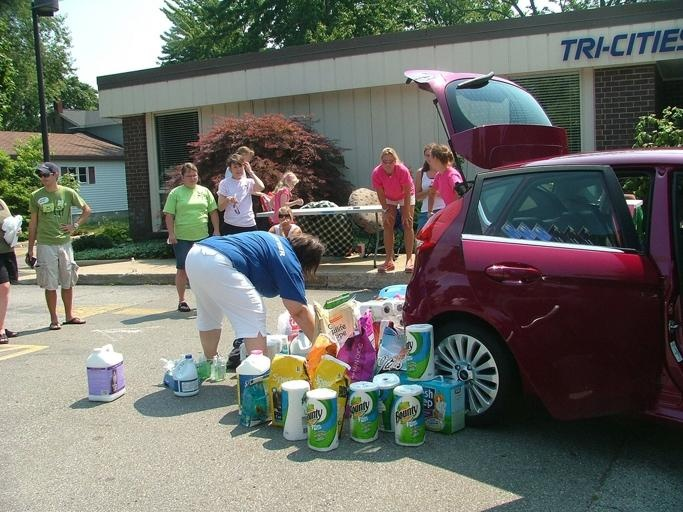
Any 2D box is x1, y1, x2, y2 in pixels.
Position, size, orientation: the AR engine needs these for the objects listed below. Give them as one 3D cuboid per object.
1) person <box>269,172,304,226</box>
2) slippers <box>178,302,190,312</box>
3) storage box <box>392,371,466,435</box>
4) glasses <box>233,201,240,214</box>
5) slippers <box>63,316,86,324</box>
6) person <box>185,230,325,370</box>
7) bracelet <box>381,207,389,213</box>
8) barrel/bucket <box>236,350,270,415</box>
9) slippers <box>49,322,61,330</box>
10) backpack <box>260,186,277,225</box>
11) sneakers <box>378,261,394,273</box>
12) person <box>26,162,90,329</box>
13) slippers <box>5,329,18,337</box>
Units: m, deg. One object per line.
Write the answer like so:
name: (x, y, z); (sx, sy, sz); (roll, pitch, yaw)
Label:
person: (-0.885, -0.734, 9.422); (0.438, 1.170, 0.435); (-5, 16, -29)
slippers: (-2.336, 0.755, 8.788); (0.134, 0.119, 0.296); (-1, -3, -18)
storage box: (0.654, 1.103, 4.362); (0.433, 0.365, 0.152); (3, 9, 35)
glasses: (-1.548, -0.713, 8.785); (0.098, 0.161, 0.032); (-6, 9, -25)
slippers: (-3.684, 0.875, 8.211); (0.229, 0.078, 0.126); (-1, 0, 2)
person: (-0.754, 0.430, 5.590); (1.150, 1.354, 1.205); (0, 4, 20)
bracelet: (0.683, -0.714, 9.277); (0.084, 0.069, 0.072); (-24, -22, 0)
barrel/bucket: (-0.710, 1.034, 4.815); (0.275, 0.508, 0.327); (-4, 8, -11)
slippers: (-3.819, 0.930, 7.897); (0.140, 0.090, 0.145); (-6, 9, -23)
backpack: (-1.180, -0.842, 9.907); (0.262, 0.625, 0.486); (-2, 10, -33)
sneakers: (0.703, 0.181, 9.603); (0.321, 0.128, 0.117); (2, -4, -39)
person: (-3.881, -0.160, 8.089); (0.771, 2.231, 0.926); (-6, 9, -25)
slippers: (-4.263, 0.987, 7.605); (0.193, 0.078, 0.077); (12, 13, 7)
